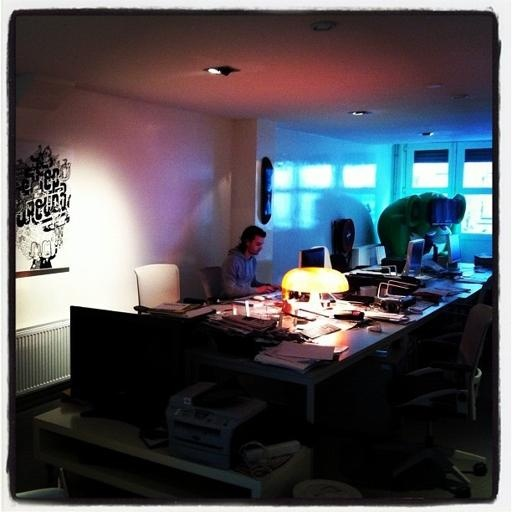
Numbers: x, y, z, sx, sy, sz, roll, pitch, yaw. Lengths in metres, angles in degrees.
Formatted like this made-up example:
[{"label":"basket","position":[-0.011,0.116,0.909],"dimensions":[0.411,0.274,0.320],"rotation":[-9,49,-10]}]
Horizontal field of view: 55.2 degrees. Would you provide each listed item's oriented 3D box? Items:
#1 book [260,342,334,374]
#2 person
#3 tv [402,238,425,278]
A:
[{"label":"book","position":[0.210,0.538,2.621],"dimensions":[0.430,0.043,0.311],"rotation":[-2,12,4]},{"label":"person","position":[-0.136,-0.001,4.907],"dimensions":[0.642,0.883,0.636],"rotation":[2,10,16]},{"label":"tv","position":[1.821,0.025,5.636],"dimensions":[0.159,0.433,0.503],"rotation":[23,17,22]}]
